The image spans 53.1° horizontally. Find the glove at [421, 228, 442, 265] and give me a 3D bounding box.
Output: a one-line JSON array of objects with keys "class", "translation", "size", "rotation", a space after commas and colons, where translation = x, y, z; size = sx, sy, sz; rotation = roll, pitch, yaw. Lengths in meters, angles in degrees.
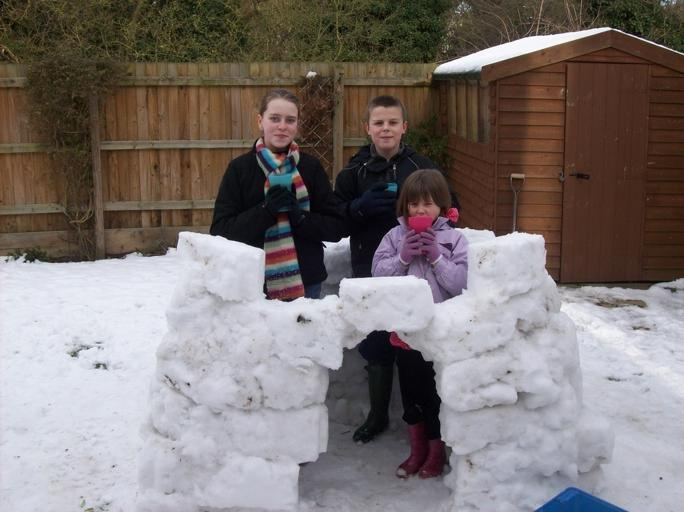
[{"class": "glove", "translation": [0.601, -0.064, 4.623], "size": [0.136, 0.239, 0.238], "rotation": [0, 12, 8]}]

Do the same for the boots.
[{"class": "boots", "translation": [0.429, 1.206, 4.931], "size": [0.363, 0.743, 0.738], "rotation": [-7, 11, -39]}]

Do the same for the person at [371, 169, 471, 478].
[{"class": "person", "translation": [0.544, 0.473, 4.750], "size": [0.650, 2.073, 0.719], "rotation": [0, 12, 10]}]

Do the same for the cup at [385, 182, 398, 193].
[{"class": "cup", "translation": [0.372, -0.500, 5.034], "size": [0.073, 0.081, 0.079], "rotation": [1, 9, 0]}]

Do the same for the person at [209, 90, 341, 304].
[{"class": "person", "translation": [-0.464, -0.411, 4.983], "size": [0.950, 1.556, 0.483], "rotation": [-4, 12, -9]}]

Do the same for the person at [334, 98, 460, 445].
[{"class": "person", "translation": [0.393, 0.096, 5.301], "size": [0.861, 2.635, 0.813], "rotation": [-2, 4, 14]}]

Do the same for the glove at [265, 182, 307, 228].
[{"class": "glove", "translation": [-0.388, -0.353, 4.875], "size": [0.324, 0.320, 0.154], "rotation": [-5, 12, -15]}]
